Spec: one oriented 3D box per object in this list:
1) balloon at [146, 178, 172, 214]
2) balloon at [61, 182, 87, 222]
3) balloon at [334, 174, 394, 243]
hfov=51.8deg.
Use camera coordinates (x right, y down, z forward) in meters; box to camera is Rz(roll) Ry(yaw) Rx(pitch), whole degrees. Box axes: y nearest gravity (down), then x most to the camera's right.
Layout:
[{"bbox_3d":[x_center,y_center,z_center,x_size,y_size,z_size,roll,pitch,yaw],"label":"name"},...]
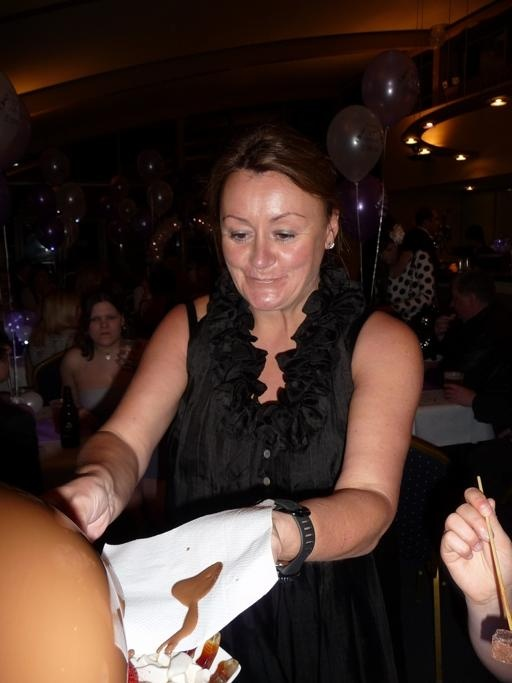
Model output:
[{"bbox_3d":[-1.404,-2.216,8.018,0.492,0.574,0.490,2,7,5],"label":"balloon"},{"bbox_3d":[-2.396,-1.851,7.116,0.416,0.519,0.488,-1,10,-3],"label":"balloon"},{"bbox_3d":[1.255,-1.528,6.036,0.665,0.799,0.674,4,5,32],"label":"balloon"}]
